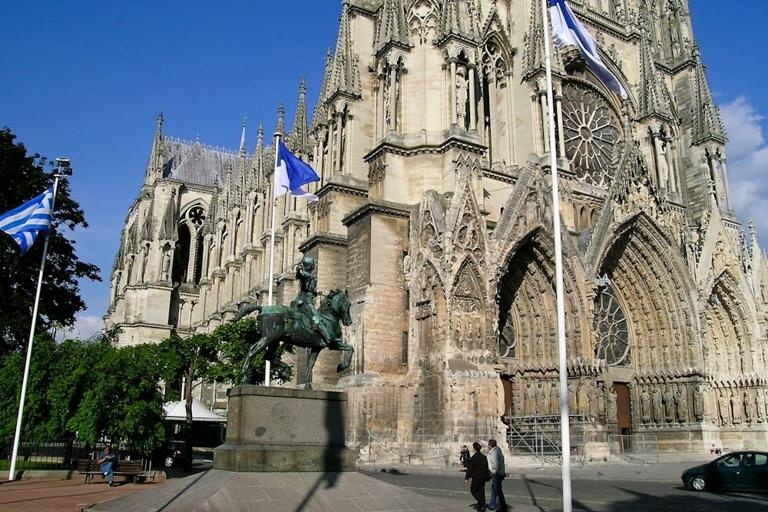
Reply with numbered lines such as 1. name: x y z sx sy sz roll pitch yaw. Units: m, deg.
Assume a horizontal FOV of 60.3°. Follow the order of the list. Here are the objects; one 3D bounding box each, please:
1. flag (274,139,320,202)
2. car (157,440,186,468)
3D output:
1. flag: -4.414 -3.933 32.164 1.711 3.017 2.162 4 -19 -11
2. car: -10.274 9.862 32.819 2.144 1.084 1.239 -6 -15 33
